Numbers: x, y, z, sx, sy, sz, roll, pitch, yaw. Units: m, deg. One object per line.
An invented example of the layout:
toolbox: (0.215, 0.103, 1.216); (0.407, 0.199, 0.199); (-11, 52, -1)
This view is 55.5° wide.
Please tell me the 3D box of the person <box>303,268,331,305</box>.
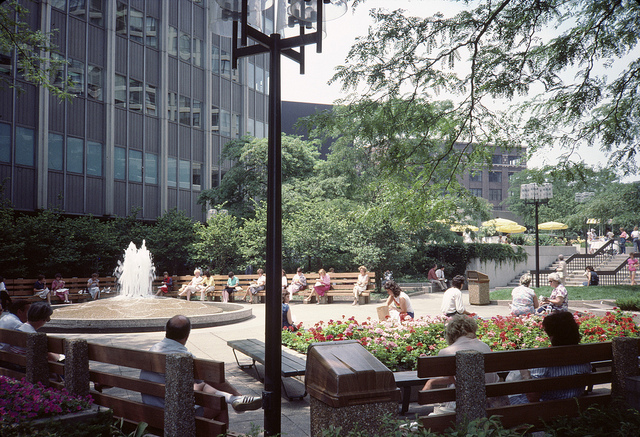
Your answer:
person: (-0.110, 2.889, 26.436); (1.370, 1.528, 0.649); (-13, 16, -41)

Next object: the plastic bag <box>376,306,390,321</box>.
plastic bag: (1.656, 2.414, 15.855); (0.341, 0.335, 0.237); (-2, -3, 15)

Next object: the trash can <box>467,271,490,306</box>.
trash can: (6.648, 2.821, 25.218); (0.631, 1.385, 1.061); (-1, -3, -5)

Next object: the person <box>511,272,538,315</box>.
person: (5.741, 2.076, 17.010); (0.672, 1.090, 0.929); (-2, -3, 19)

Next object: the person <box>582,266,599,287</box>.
person: (13.796, 2.897, 30.758); (0.474, 0.869, 1.764); (-2, -3, 21)

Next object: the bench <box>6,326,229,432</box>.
bench: (-3.569, 2.753, 10.692); (4.552, 1.516, 1.717); (-3, -3, 31)

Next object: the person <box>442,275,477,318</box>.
person: (3.901, 2.193, 16.378); (0.935, 1.217, 0.972); (-8, -7, 9)
